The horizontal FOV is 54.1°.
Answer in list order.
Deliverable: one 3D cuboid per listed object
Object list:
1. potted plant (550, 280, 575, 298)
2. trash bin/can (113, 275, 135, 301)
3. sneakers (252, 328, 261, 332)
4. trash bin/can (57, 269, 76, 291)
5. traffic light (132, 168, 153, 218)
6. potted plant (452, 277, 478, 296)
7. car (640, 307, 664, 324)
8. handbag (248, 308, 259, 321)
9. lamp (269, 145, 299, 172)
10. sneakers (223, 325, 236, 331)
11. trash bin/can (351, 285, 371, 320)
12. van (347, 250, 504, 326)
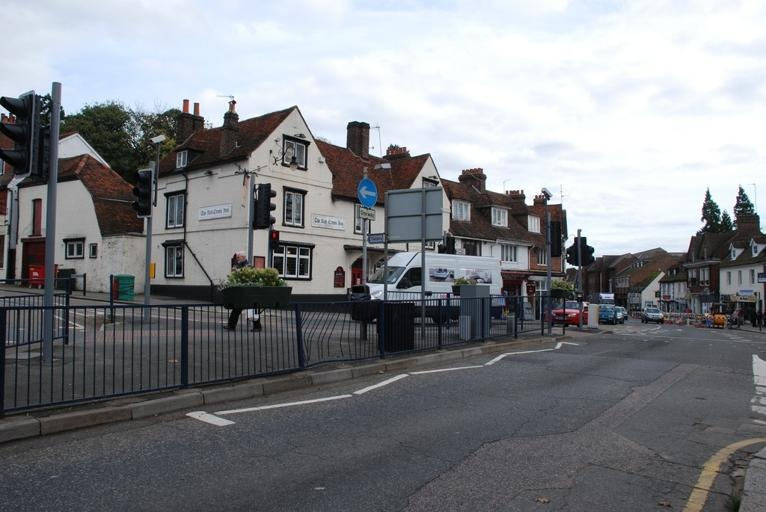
[{"bbox_3d":[11.363,2.067,47.240,1.648,0.808,1.736,1,-7,5],"label":"potted plant"},{"bbox_3d":[-11.393,1.367,32.589,1.129,1.246,1.144,0,-1,-17],"label":"trash bin/can"},{"bbox_3d":[-2.633,1.518,15.434,0.053,0.077,0.181,-9,-6,39],"label":"sneakers"},{"bbox_3d":[-11.755,0.831,27.585,0.969,0.944,0.380,1,3,44],"label":"trash bin/can"},{"bbox_3d":[-7.034,-1.816,21.754,0.532,1.371,0.689,-1,10,-12],"label":"traffic light"},{"bbox_3d":[2.779,1.060,25.458,0.664,0.488,0.688,0,-15,5],"label":"potted plant"},{"bbox_3d":[21.727,4.729,60.227,1.031,1.008,2.237,-2,-9,14],"label":"car"},{"bbox_3d":[-2.710,1.208,15.580,0.294,0.297,0.173,0,0,-2],"label":"handbag"},{"bbox_3d":[-4.980,-4.876,37.251,0.268,1.016,1.924,7,12,32],"label":"lamp"},{"bbox_3d":[-3.093,1.432,14.981,0.244,0.120,0.087,-2,10,-19],"label":"sneakers"},{"bbox_3d":[-0.532,1.110,17.812,0.559,0.951,0.486,1,8,13],"label":"trash bin/can"},{"bbox_3d":[2.121,1.171,29.406,4.981,2.483,2.240,3,-9,-11],"label":"van"}]
